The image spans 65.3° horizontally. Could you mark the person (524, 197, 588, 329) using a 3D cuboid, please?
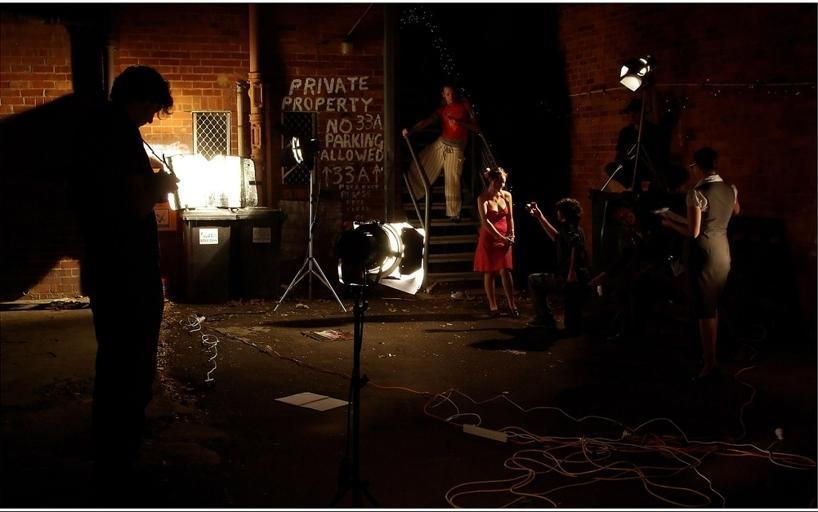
[{"bbox_3d":[2.355,0.129,9.851,0.910,1.967,0.720,8,17,26],"label":"person"}]

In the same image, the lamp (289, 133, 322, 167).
[{"bbox_3d":[-1.802,-1.800,11.204,0.430,0.544,0.319,7,16,23],"label":"lamp"}]

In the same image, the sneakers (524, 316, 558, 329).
[{"bbox_3d":[2.047,1.003,10.020,0.570,0.219,0.188,7,13,16],"label":"sneakers"}]

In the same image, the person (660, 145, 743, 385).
[{"bbox_3d":[3.608,0.079,7.932,0.742,2.836,1.194,8,17,25],"label":"person"}]

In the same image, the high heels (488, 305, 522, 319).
[{"bbox_3d":[1.582,0.922,10.648,0.583,0.157,0.192,-4,-3,27],"label":"high heels"}]

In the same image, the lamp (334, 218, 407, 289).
[{"bbox_3d":[-0.341,-0.032,6.214,0.364,0.621,0.742,14,20,42],"label":"lamp"}]
